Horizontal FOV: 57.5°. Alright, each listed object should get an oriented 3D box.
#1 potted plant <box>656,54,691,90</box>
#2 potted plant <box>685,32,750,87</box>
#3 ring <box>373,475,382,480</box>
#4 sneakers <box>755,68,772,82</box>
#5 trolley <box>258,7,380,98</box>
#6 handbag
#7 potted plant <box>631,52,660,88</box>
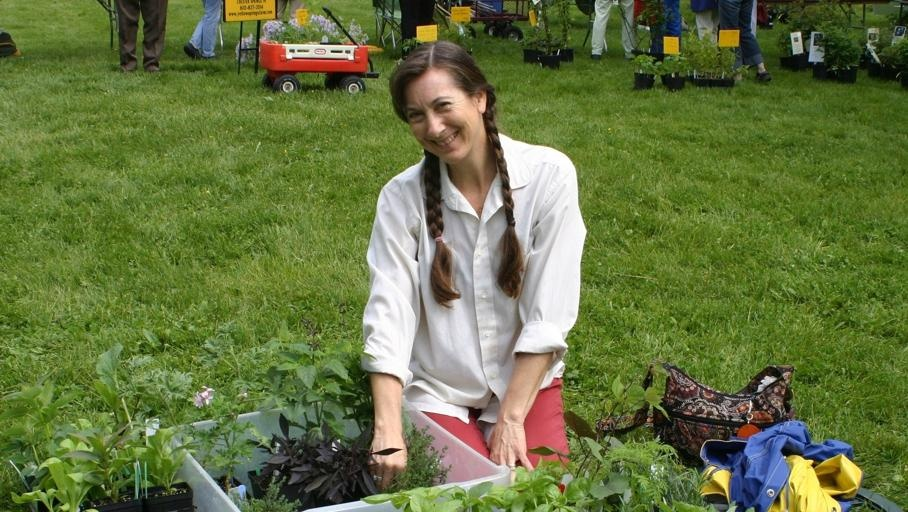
[{"bbox_3d":[3.322,-2.785,12.482,0.399,0.505,0.471,9,17,31],"label":"potted plant"},{"bbox_3d":[3.984,-3.034,12.647,1.069,0.844,0.665,-1,15,-5],"label":"potted plant"},{"bbox_3d":[-0.507,1.493,5.587,0.035,0.028,0.047,1,-3,-3],"label":"ring"},{"bbox_3d":[4.966,-2.893,13.224,0.125,0.136,0.308,-2,20,7],"label":"sneakers"},{"bbox_3d":[-2.059,-3.060,12.356,1.738,1.465,1.109,1,14,-14],"label":"trolley"},{"bbox_3d":[1.948,1.177,6.420,1.224,0.537,0.877,0,2,7],"label":"handbag"},{"bbox_3d":[2.924,-2.806,12.577,0.357,0.490,0.486,3,15,12],"label":"potted plant"}]
